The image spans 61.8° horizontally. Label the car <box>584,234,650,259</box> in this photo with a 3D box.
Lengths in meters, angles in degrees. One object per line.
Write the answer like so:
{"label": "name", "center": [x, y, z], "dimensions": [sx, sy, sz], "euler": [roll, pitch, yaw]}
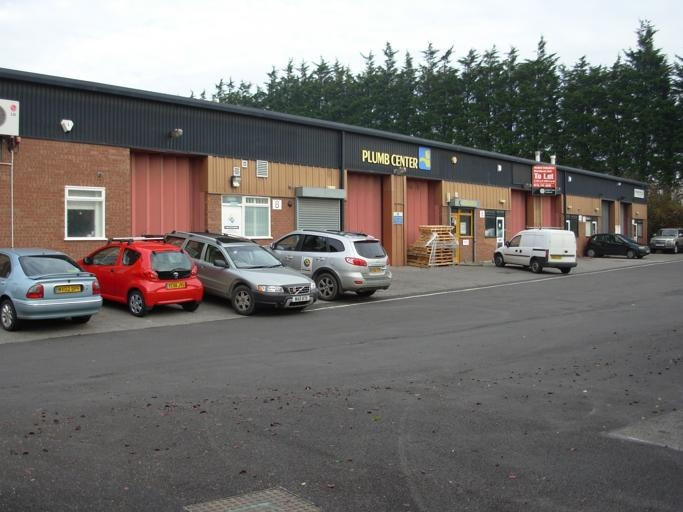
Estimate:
{"label": "car", "center": [19.468, -0.734, 40.620], "dimensions": [3.227, 1.474, 1.955], "euler": [-2, -2, 37]}

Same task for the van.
{"label": "van", "center": [10.159, -0.408, 29.391], "dimensions": [1.991, 1.747, 3.456], "euler": [0, 7, -30]}
